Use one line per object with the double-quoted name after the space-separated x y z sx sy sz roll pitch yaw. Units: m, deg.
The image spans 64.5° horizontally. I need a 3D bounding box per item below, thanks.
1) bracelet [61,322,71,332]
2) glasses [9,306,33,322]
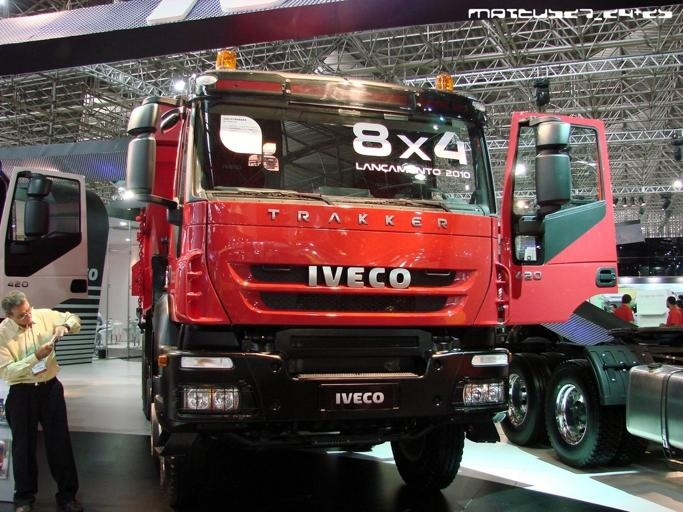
-2.439 0.638 4.803 0.082 0.062 0.075 -3 1 -17 "bracelet"
-2.777 0.506 4.727 0.151 0.134 0.158 -12 24 -34 "glasses"
